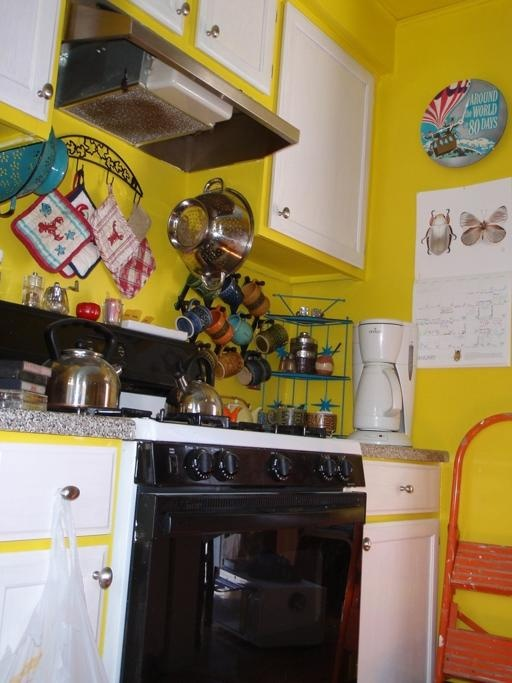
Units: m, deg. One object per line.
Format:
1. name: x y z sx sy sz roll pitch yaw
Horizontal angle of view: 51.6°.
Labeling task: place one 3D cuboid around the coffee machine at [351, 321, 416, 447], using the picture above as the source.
1. coffee machine: 0.454 0.140 1.911 0.229 0.430 0.328 2 -5 17

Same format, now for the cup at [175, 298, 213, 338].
1. cup: -0.232 -0.071 1.821 0.150 0.100 0.112 16 41 40

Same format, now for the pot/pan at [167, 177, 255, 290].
1. pot/pan: -0.140 -0.331 1.637 0.268 0.324 0.118 4 -5 -12

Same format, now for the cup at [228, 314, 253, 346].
1. cup: -0.070 -0.054 2.012 0.074 0.122 0.086 -16 -34 26

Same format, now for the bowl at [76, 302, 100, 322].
1. bowl: -0.448 -0.076 1.402 0.061 0.047 0.059 3 -6 0

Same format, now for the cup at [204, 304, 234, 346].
1. cup: -0.125 -0.053 1.854 0.084 0.138 0.098 -3 -15 17

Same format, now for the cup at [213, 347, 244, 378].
1. cup: -0.100 0.076 1.905 0.074 0.120 0.082 10 25 35

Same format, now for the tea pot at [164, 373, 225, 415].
1. tea pot: -0.159 0.136 1.283 0.079 0.110 0.125 -10 -21 28

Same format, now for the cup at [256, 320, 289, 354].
1. cup: 0.060 -0.010 2.113 0.132 0.116 0.087 4 -4 -6
